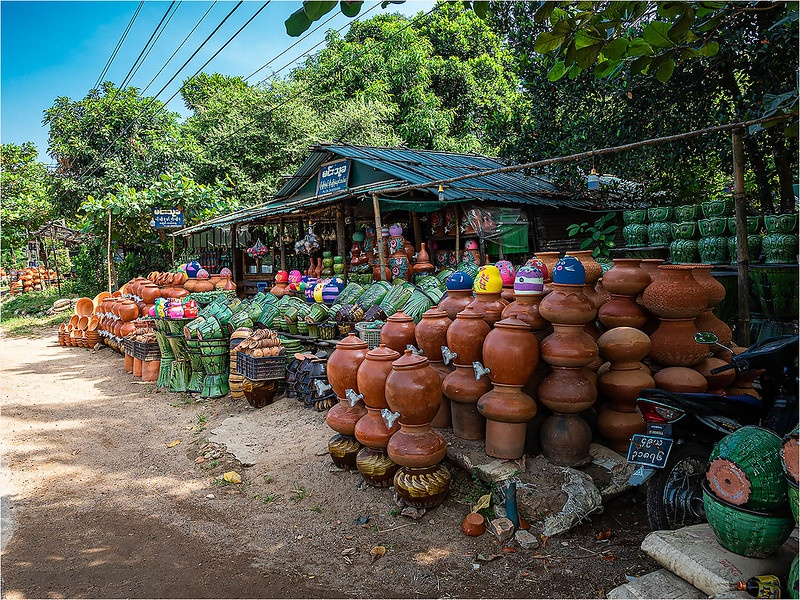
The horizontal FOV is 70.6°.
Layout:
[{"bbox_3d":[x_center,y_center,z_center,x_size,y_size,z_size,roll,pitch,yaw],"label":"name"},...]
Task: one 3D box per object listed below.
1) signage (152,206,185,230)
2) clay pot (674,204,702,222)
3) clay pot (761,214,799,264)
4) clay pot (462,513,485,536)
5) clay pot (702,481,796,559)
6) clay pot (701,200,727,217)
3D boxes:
[{"bbox_3d":[-6.127,-2.202,14.834,0.661,0.425,0.092,-1,-2,-23],"label":"signage"},{"bbox_3d":[4.135,-1.229,8.050,0.355,0.237,0.315,-1,4,16],"label":"clay pot"},{"bbox_3d":[4.762,-0.766,7.054,0.360,0.610,0.304,0,5,32],"label":"clay pot"},{"bbox_3d":[0.592,1.785,4.511,0.157,0.101,0.154,-2,-6,0],"label":"clay pot"},{"bbox_3d":[2.254,1.423,3.664,0.454,0.295,0.459,1,0,0],"label":"clay pot"},{"bbox_3d":[4.304,-1.243,7.728,0.243,0.212,0.311,0,0,-21],"label":"clay pot"}]
